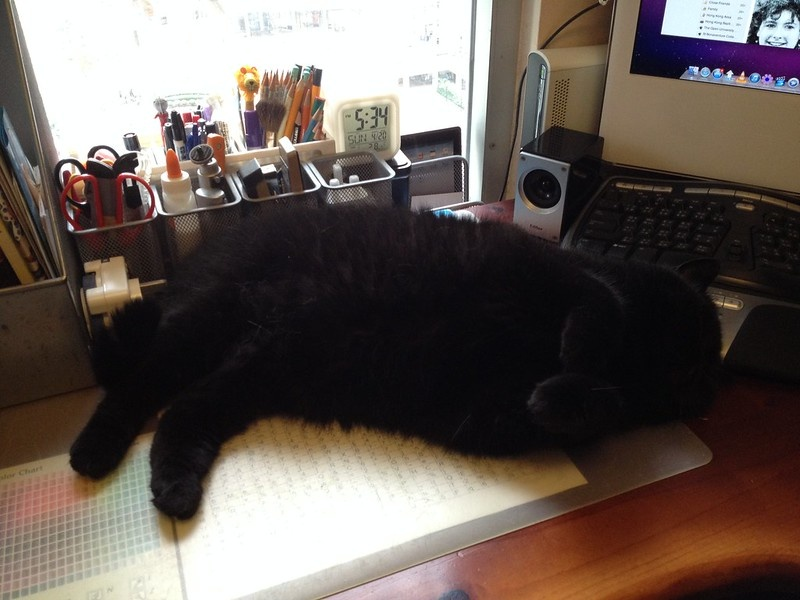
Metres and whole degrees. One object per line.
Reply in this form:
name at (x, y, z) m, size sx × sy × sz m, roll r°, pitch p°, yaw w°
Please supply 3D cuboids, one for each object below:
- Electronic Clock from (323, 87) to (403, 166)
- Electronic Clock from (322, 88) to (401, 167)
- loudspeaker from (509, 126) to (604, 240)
Electronic Clock at (-0.058, -0.327, 1.073) m, size 0.152 × 0.120 × 0.070 m, roll -12°, pitch 39°, yaw -21°
Electronic Clock at (-0.061, -0.306, 1.075) m, size 0.154 × 0.121 × 0.071 m, roll -12°, pitch 39°, yaw -21°
loudspeaker at (0.279, -0.203, 1.040) m, size 0.099 × 0.131 × 0.169 m, roll 25°, pitch 42°, yaw 34°
